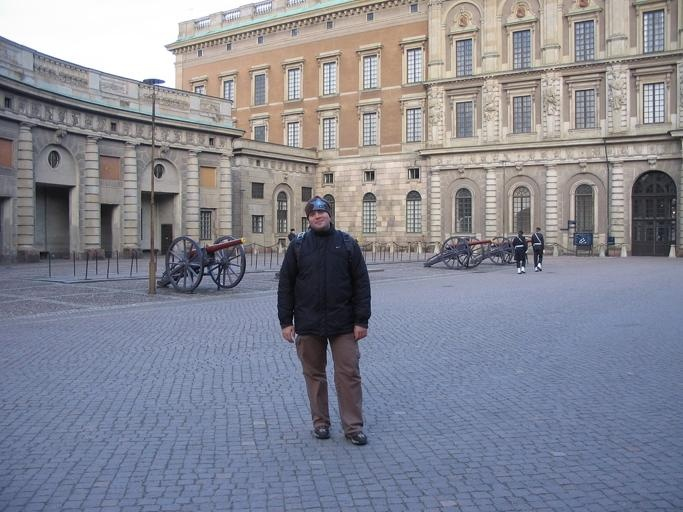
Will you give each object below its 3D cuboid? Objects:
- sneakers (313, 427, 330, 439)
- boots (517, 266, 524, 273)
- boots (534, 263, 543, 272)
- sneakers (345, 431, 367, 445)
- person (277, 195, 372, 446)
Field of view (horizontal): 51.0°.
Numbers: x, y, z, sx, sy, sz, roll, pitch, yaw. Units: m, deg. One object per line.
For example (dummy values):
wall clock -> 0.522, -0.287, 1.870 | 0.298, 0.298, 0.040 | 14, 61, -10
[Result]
sneakers -> -0.249, 2.137, 8.703 | 0.195, 0.147, 0.116 | -1, 1, -4
boots -> 7.244, 0.562, 28.982 | 0.248, 0.423, 0.272 | -2, 6, -2
boots -> 8.538, 0.485, 31.074 | 0.221, 0.324, 0.753 | 1, 11, 14
sneakers -> 0.165, 2.173, 8.576 | 0.113, 0.119, 0.264 | 2, -8, -42
person -> -0.209, 0.760, 8.733 | 1.094, 2.965, 0.559 | -1, 1, 0
